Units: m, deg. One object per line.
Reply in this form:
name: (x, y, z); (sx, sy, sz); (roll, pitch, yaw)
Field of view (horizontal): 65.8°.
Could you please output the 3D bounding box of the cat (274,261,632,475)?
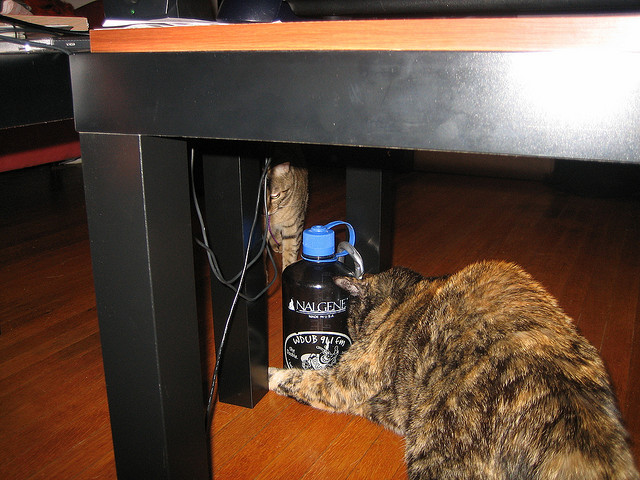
cat: (0.205, 0.179, 0.908); (0.576, 0.322, 0.214); (33, 38, 28)
